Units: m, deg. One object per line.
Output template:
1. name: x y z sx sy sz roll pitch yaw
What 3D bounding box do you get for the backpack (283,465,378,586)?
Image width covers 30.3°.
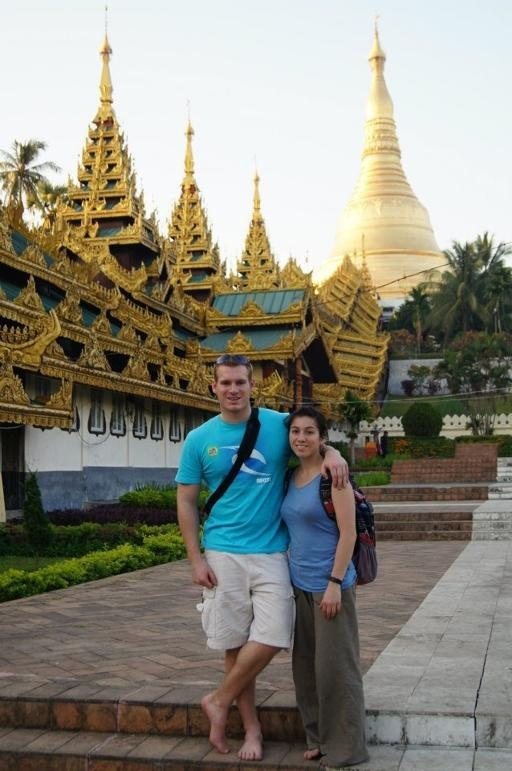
1. backpack: 0.332 0.577 3.903 0.413 0.372 0.293 -3 3 -2

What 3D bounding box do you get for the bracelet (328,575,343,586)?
1. bracelet: 0.298 0.748 3.621 0.040 0.015 0.039 18 -15 21

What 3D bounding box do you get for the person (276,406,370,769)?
1. person: 0.300 0.786 3.750 0.326 1.399 0.491 -1 1 -17
